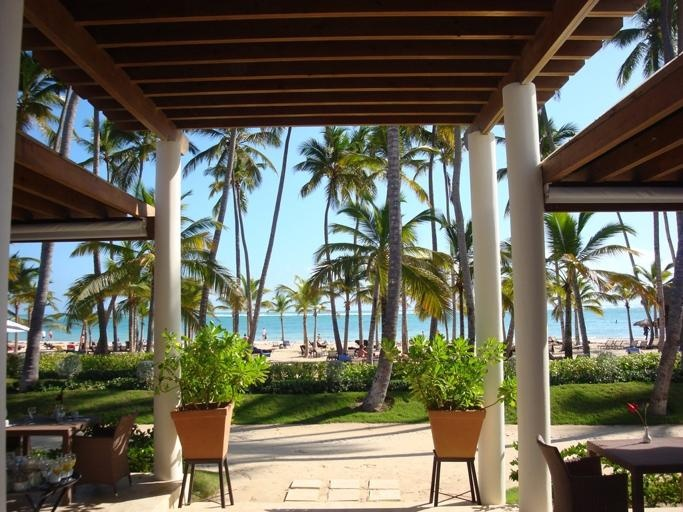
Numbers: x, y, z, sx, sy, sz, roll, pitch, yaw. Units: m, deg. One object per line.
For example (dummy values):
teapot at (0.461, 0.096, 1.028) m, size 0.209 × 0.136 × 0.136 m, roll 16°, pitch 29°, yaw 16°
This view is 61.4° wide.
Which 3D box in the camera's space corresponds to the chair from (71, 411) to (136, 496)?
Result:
chair at (-2.538, 2.232, 6.563) m, size 0.657 × 1.151 × 0.753 m, roll 1°, pitch -15°, yaw -2°

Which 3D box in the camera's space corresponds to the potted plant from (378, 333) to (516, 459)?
potted plant at (1.294, 1.531, 6.250) m, size 1.087 × 1.309 × 1.035 m, roll 5°, pitch -23°, yaw -2°

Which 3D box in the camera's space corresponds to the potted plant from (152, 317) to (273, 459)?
potted plant at (-1.356, 1.547, 6.226) m, size 1.026 × 1.293 × 0.874 m, roll -7°, pitch -19°, yaw 26°
